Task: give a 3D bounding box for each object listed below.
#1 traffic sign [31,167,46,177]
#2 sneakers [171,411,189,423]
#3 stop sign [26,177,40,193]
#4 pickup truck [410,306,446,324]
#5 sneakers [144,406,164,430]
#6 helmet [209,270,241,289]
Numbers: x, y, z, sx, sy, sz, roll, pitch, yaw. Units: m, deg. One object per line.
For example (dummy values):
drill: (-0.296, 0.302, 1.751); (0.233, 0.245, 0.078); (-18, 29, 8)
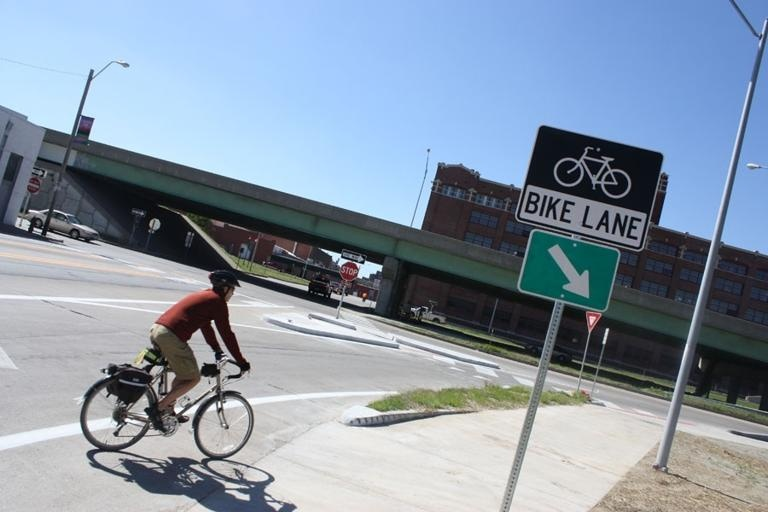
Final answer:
traffic sign: (-20.804, -4.999, 33.613); (0.635, 0.548, 1.757); (11, 1, -36)
sneakers: (-3.101, 2.398, 8.369); (0.315, 0.122, 0.111); (31, -18, -10)
stop sign: (-20.512, -4.159, 32.654); (0.542, 0.848, 1.193); (11, 1, -35)
pickup truck: (5.229, 7.559, 68.106); (3.561, 1.079, 2.444); (9, -4, 19)
sneakers: (-3.358, 2.356, 8.182); (0.204, 0.327, 0.104); (-25, 1, -23)
helmet: (-2.403, 0.337, 8.582); (0.604, 0.272, 0.407); (5, 2, -29)
